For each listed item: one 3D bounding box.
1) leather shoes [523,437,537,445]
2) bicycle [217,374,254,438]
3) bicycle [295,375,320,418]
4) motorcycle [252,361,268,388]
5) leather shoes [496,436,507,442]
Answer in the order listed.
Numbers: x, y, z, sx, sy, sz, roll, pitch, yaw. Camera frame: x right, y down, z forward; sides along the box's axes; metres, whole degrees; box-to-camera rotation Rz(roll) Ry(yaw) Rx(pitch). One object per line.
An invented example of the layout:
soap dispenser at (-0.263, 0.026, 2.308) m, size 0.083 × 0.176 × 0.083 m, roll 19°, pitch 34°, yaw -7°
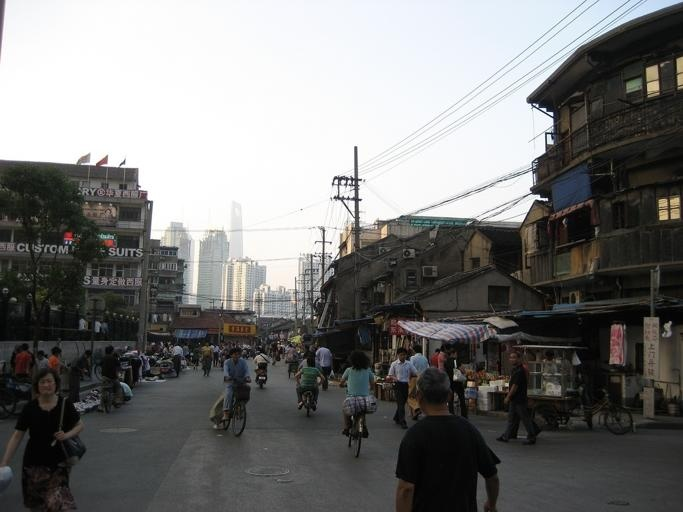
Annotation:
leather shoes at (4.494, 4.419, 16.409) m, size 0.320 × 0.209 × 0.127 m, roll 2°, pitch -8°, yaw 13°
bicycle at (-2.656, 3.777, 17.161) m, size 0.540 × 1.335 × 1.456 m, roll 5°, pitch -12°, yaw -17°
bicycle at (-0.999, 4.011, 20.586) m, size 0.760 × 1.412 × 0.763 m, roll 3°, pitch -11°, yaw -3°
motorcycle at (-3.547, 5.275, 30.764) m, size 0.557 × 0.853 × 1.270 m, roll 2°, pitch -2°, yaw -3°
leather shoes at (3.895, 4.456, 16.739) m, size 0.237 × 0.176 × 0.083 m, roll -2°, pitch -1°, yaw 3°
